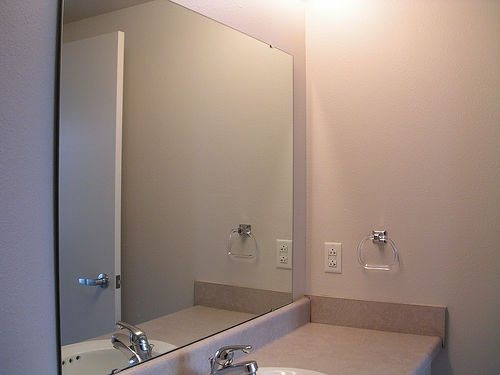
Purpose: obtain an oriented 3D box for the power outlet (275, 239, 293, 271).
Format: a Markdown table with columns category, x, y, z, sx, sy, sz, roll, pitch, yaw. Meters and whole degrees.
| category | x | y | z | sx | sy | sz | roll | pitch | yaw |
| --- | --- | --- | --- | --- | --- | --- | --- | --- | --- |
| power outlet | 0.158 | 0.315 | 1.906 | 0.092 | 0.135 | 0.012 | -7 | -11 | 44 |
